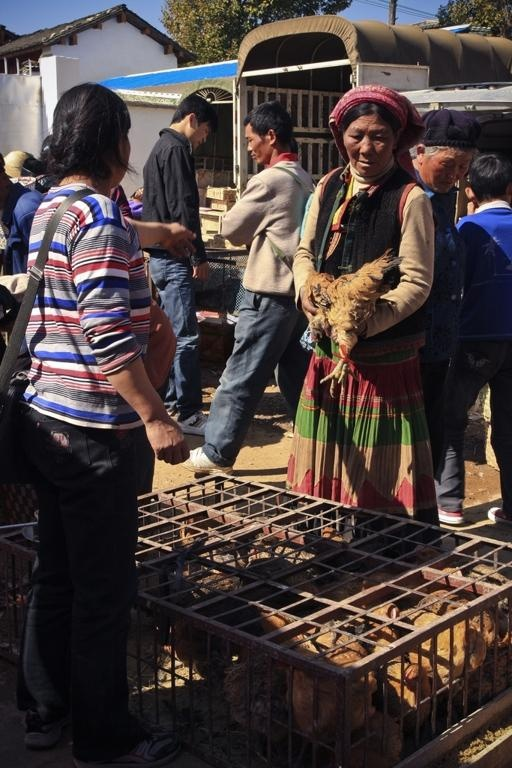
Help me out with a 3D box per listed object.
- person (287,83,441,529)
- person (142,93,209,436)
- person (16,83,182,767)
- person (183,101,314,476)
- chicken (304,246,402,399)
[{"bbox_3d":[0.363,-0.269,2.837,0.623,1.615,0.540,-3,7,-34],"label":"person"},{"bbox_3d":[-0.596,-0.981,5.940,0.670,2.553,0.840,-3,12,-20],"label":"person"},{"bbox_3d":[-0.449,0.121,1.934,0.457,1.778,0.490,-8,12,-26],"label":"person"},{"bbox_3d":[0.074,-0.576,4.709,0.896,2.117,0.829,5,8,32],"label":"person"},{"bbox_3d":[0.248,-0.240,2.672,0.536,0.435,0.342,0,22,-13],"label":"chicken"}]
